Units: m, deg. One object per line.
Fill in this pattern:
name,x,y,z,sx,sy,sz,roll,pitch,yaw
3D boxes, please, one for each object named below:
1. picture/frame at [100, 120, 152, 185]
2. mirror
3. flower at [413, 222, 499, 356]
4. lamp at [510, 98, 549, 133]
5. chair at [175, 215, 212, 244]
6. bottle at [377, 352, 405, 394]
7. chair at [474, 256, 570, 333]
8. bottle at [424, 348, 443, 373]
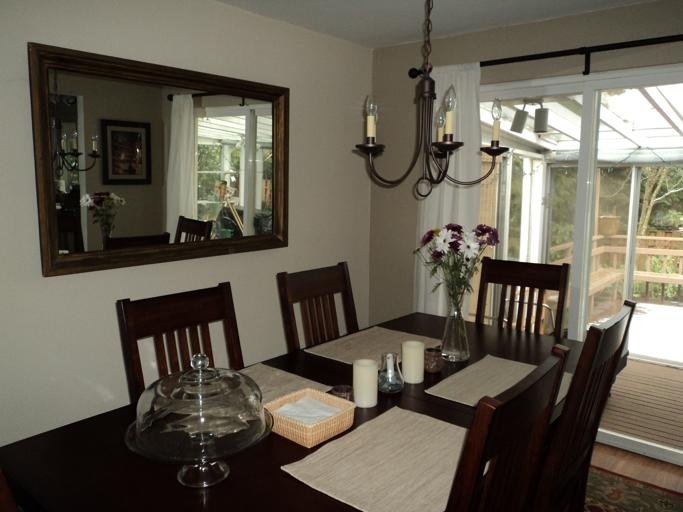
picture/frame,-1.237,-0.594,2.889,0.280,0.370,0.023,1,6,-1
mirror,-1.130,-0.593,2.974,0.058,1.152,1.462,1,3,43
flower,0.554,0.156,2.296,0.291,0.628,0.353,-2,8,-23
lamp,1.333,-0.997,3.535,0.221,0.220,0.080,13,12,42
chair,-0.949,-0.169,3.230,0.149,0.303,0.162,-2,11,-41
bottle,0.194,0.488,2.060,0.107,0.167,0.113,-3,1,0
chair,1.146,0.231,3.148,0.370,0.769,0.422,8,11,34
bottle,0.399,0.456,2.238,0.086,0.095,0.092,2,7,27
